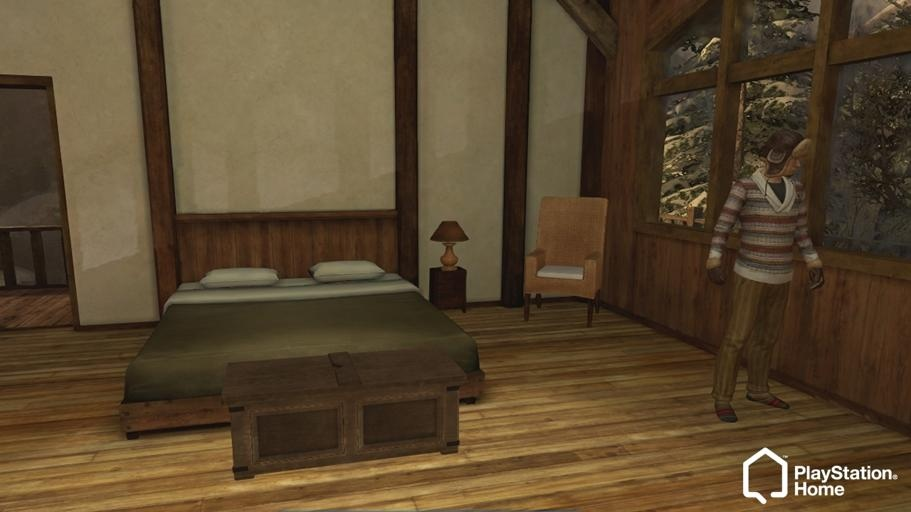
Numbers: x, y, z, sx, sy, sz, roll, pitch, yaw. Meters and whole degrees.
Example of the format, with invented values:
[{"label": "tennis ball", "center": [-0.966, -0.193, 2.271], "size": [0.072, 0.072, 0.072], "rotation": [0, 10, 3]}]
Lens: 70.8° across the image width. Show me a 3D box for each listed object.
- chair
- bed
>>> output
[{"label": "chair", "center": [1.507, 0.030, 8.847], "size": [1.093, 1.615, 1.130], "rotation": [1, 16, 11]}, {"label": "bed", "center": [-2.200, 0.500, 7.834], "size": [3.444, 1.318, 3.051], "rotation": [-2, 6, -14]}]
